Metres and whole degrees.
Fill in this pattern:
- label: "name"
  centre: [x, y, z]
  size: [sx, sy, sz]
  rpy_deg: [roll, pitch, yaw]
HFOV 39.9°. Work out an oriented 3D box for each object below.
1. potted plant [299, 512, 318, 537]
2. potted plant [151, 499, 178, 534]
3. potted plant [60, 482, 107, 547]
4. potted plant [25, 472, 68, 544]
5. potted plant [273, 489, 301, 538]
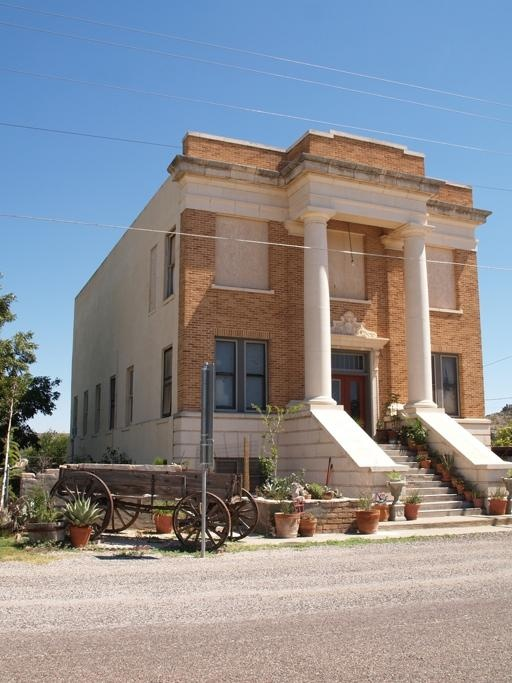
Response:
- label: "potted plant"
  centre: [1.085, 3.811, 14.666]
  size: [0.403, 0.452, 0.414]
  rpy_deg: [4, -13, -16]
- label: "potted plant"
  centre: [-1.864, 3.523, 14.126]
  size: [0.425, 0.663, 1.436]
  rpy_deg: [2, -12, -8]
- label: "potted plant"
  centre: [-2.985, 3.139, 12.136]
  size: [0.630, 0.738, 0.667]
  rpy_deg: [-9, -19, 35]
- label: "potted plant"
  centre: [-3.700, 3.044, 12.314]
  size: [0.571, 1.060, 0.572]
  rpy_deg: [-33, -16, 30]
- label: "potted plant"
  centre: [0.710, 3.586, 14.437]
  size: [0.643, 0.823, 0.637]
  rpy_deg: [3, -13, -13]
